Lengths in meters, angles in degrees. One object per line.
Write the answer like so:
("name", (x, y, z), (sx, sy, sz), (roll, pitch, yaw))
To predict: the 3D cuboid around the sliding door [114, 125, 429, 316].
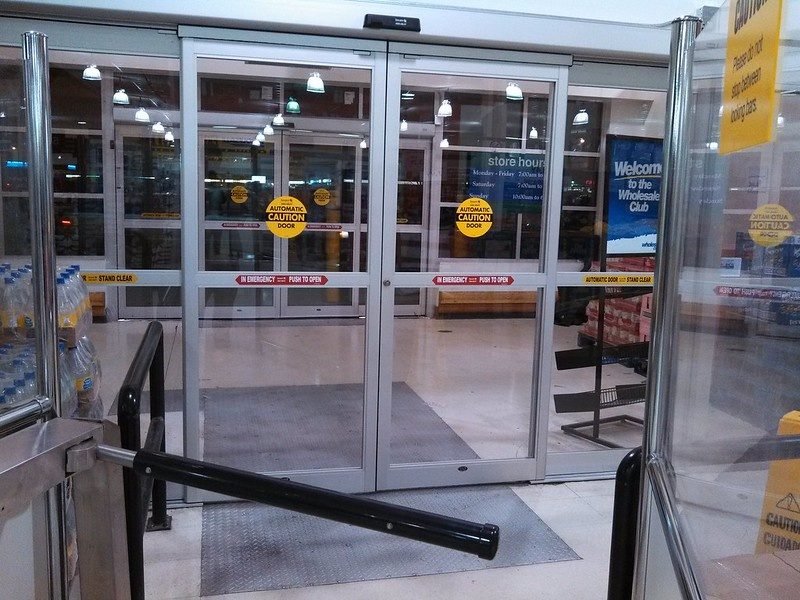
("sliding door", (-0.537, -0.385, 3.471), (1.568, 0.975, 0.057), (-3, 10, -31))
